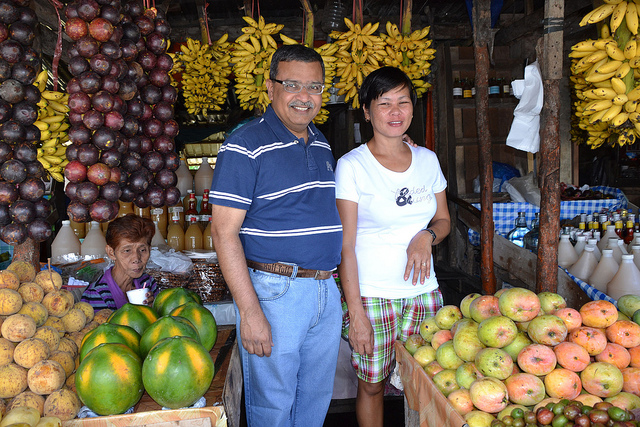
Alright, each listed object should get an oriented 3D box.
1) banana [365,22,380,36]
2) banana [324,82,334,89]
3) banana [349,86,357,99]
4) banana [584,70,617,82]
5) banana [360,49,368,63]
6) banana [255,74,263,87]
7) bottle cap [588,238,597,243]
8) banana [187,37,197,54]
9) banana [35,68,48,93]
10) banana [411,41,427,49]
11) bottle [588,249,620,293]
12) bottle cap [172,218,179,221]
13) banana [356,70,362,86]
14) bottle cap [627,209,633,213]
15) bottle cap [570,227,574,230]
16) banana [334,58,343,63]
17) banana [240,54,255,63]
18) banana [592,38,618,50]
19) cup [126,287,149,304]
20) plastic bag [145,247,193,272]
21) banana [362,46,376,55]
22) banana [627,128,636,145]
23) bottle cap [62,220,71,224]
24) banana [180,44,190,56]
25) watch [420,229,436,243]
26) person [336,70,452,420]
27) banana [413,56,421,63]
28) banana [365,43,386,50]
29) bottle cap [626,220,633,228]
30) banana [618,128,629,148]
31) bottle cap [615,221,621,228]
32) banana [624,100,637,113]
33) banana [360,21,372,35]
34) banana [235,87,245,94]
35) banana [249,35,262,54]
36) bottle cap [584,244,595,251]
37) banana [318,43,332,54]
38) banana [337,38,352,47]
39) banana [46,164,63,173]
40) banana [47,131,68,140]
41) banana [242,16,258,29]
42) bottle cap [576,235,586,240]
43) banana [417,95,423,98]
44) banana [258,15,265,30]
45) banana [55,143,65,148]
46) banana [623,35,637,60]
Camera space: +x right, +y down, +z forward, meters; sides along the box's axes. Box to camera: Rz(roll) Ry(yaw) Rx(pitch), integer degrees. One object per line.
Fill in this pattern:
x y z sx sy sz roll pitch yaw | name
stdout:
0.464 -1.647 4.168 0.178 0.064 0.060 -45 -7 23 | banana
0.081 -1.174 4.241 0.104 0.034 0.113 -12 10 21 | banana
0.312 -1.131 4.313 0.045 0.143 0.069 -3 -19 45 | banana
1.821 -0.873 2.958 0.212 0.070 0.063 -10 -1 -20 | banana
0.398 -1.402 4.134 0.038 0.121 0.035 28 14 9 | banana
-0.552 -1.199 4.178 0.061 0.098 0.092 -3 6 -8 | banana
1.996 0.193 3.351 0.045 0.023 0.061 0 -1 4 | bottle cap
-1.328 -1.703 4.713 0.044 0.169 0.058 -20 -2 18 | banana
-1.708 -0.806 2.809 0.055 0.163 0.246 -5 7 -27 | banana
0.911 -1.526 4.184 0.134 0.057 0.064 -5 7 -22 | banana
1.953 0.376 3.154 0.252 0.262 0.184 -8 8 -40 | bottle
-1.242 0.047 3.915 0.024 0.026 0.025 6 9 31 | bottle cap
0.366 -1.237 4.219 0.037 0.132 0.037 -1 10 -2 | banana
3.459 -0.031 5.088 0.035 0.037 0.020 6 -20 -22 | bottle cap
2.263 0.126 4.091 0.021 0.021 0.034 -1 0 10 | bottle cap
0.169 -1.394 4.210 0.060 0.046 0.020 11 6 -1 | banana
-0.654 -1.387 4.146 0.143 0.047 0.049 -21 41 9 | banana
1.845 -1.077 2.956 0.144 0.075 0.046 8 0 27 | banana
-0.997 0.434 2.494 0.088 0.070 0.085 -2 4 0 | cup
-1.108 0.333 3.305 0.337 0.152 0.169 -1 6 16 | plastic bag
0.456 -1.458 4.145 0.095 0.055 0.031 23 -5 -5 | banana
2.232 -0.552 3.270 0.037 0.115 0.061 13 44 20 | banana
-2.124 0.069 3.818 0.043 0.026 0.044 0 0 -6 | bottle cap
-1.392 -1.666 4.695 0.040 0.146 0.051 -39 49 -3 | banana
0.688 0.132 2.797 0.086 0.076 0.063 -3 6 -8 | watch
0.465 0.195 2.824 0.725 2.092 0.406 -3 6 -5 | person
0.915 -1.434 4.285 0.050 0.025 0.066 6 -10 4 | banana
0.512 -1.487 4.150 0.177 0.055 0.052 4 -5 1 | banana
2.658 0.085 3.921 0.048 0.046 0.049 0 -5 -4 | bottle cap
2.182 -0.536 3.271 0.059 0.054 0.190 15 33 12 | banana
2.583 0.095 3.948 0.048 0.054 0.050 -2 -2 28 | bottle cap
2.009 -0.683 2.942 0.063 0.078 0.043 -3 6 -8 | banana
0.424 -1.659 4.158 0.038 0.068 0.124 -14 -8 -25 | banana
-0.772 -1.154 4.369 0.051 0.048 0.216 -5 7 -23 | banana
-0.576 -1.498 4.116 0.049 0.160 0.085 13 52 21 | banana
1.971 0.241 3.328 0.061 0.046 0.050 1 7 28 | bottle cap
0.059 -1.514 4.262 0.115 0.102 0.137 -2 6 2 | banana
0.230 -1.527 4.152 0.130 0.039 0.043 -24 -40 26 | banana
-1.668 -0.281 2.880 0.077 0.052 0.032 -6 7 -31 | banana
-1.628 -0.482 2.833 0.115 0.031 0.040 -12 -30 16 | banana
-0.652 -1.765 4.272 0.068 0.068 0.229 -29 45 -34 | banana
2.046 0.181 3.577 0.046 0.029 0.046 -4 8 -22 | bottle cap
1.081 -1.252 4.966 0.068 0.017 0.066 -3 2 -1 | banana
-0.530 -1.733 4.190 0.060 0.119 0.037 9 -4 16 | banana
-1.632 -0.427 2.878 0.027 0.024 0.065 -3 6 -2 | banana
1.974 -1.044 2.907 0.057 0.138 0.066 -2 23 -13 | banana
